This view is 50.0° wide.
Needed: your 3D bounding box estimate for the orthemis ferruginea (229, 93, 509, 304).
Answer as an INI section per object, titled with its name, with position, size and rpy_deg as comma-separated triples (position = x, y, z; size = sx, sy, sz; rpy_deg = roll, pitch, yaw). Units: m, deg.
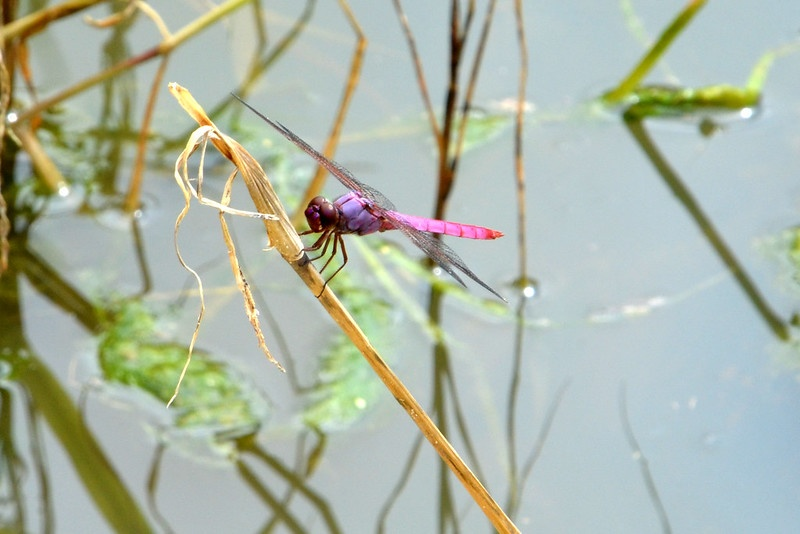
[orthemis ferruginea]
position = -0.089, -0.062, 1.892
size = 0.627, 0.371, 0.326
rpy_deg = 22, -49, -31
